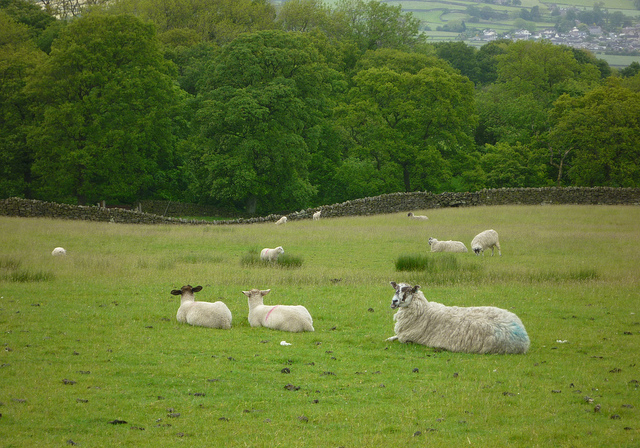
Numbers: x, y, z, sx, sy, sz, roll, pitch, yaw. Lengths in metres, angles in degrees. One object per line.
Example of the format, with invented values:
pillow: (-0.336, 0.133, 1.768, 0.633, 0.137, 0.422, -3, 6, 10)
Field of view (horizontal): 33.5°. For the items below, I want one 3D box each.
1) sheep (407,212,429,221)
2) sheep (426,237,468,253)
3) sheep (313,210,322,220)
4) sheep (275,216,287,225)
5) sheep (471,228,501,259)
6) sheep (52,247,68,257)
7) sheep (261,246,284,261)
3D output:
sheep: (8.214, -0.675, 88.937, 1.731, 1.154, 0.604, 5, 5, 23)
sheep: (9.232, 1.416, 77.059, 3.045, 1.566, 1.080, 4, -3, 11)
sheep: (-0.281, -0.838, 92.884, 0.596, 0.624, 1.299, 3, 4, 0)
sheep: (-3.176, -0.369, 89.179, 0.715, 0.619, 1.281, 7, 6, 44)
sheep: (11.767, 1.419, 76.008, 0.999, 2.026, 3.142, 2, 23, 35)
sheep: (-18.164, 1.925, 74.264, 0.642, 0.498, 0.739, 1, 0, 0)
sheep: (-3.336, 2.007, 74.455, 1.494, 0.933, 1.641, 3, 4, -5)
